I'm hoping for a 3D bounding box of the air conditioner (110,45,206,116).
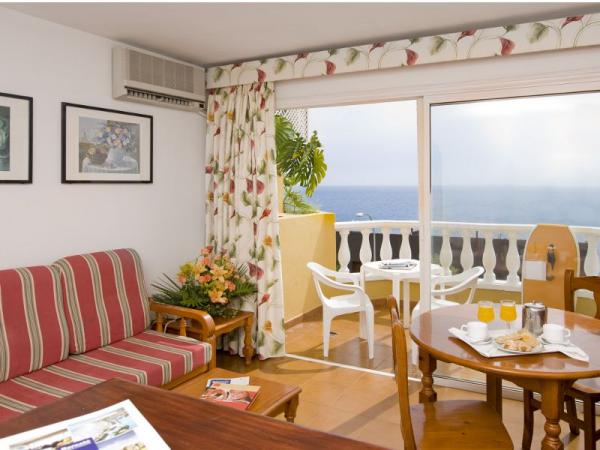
[{"bbox_3d":[-1.242,-1.277,4.041,0.183,0.401,0.934,6,8,33],"label":"air conditioner"}]

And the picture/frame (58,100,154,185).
[{"bbox_3d":[-1.550,-0.649,3.692,0.036,0.595,0.860,8,9,29],"label":"picture/frame"}]

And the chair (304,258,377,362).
[{"bbox_3d":[0.419,0.820,4.428,0.669,0.803,0.609,0,3,-13],"label":"chair"}]

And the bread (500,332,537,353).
[{"bbox_3d":[1.126,0.594,2.315,0.118,0.042,0.118,-4,-1,-1],"label":"bread"}]

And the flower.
[{"bbox_3d":[-0.903,0.499,4.120,0.728,0.466,0.655,0,5,4],"label":"flower"}]

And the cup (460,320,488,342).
[{"bbox_3d":[0.934,0.569,2.438,0.127,0.089,0.095,-2,2,8],"label":"cup"}]

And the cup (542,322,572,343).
[{"bbox_3d":[1.361,0.559,2.395,0.122,0.086,0.093,0,-1,38],"label":"cup"}]
